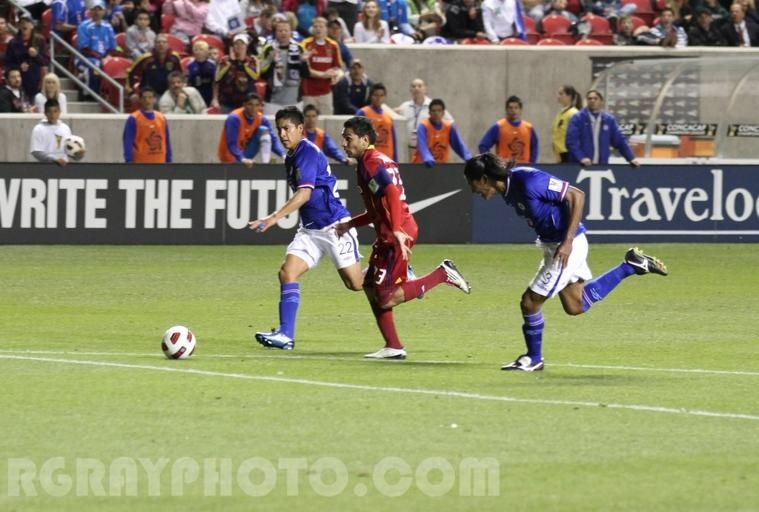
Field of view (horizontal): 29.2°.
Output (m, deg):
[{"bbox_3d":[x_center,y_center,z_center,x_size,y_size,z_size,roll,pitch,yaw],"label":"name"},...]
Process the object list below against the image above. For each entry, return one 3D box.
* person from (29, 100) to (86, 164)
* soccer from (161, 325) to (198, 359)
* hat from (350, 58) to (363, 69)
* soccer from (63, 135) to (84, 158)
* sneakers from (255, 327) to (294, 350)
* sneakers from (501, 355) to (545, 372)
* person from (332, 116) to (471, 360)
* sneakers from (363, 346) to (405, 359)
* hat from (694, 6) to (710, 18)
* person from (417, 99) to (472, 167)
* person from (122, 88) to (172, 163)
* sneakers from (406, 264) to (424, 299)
[{"bbox_3d":[-5.685,-2.165,25.221,0.642,1.086,0.325,-3,9,-12],"label":"person"},{"bbox_3d":[-2.309,0.978,16.605,0.429,0.350,0.378,5,-4,31],"label":"soccer"},{"bbox_3d":[-0.400,-3.659,27.324,0.268,0.179,0.375,2,-8,-1],"label":"hat"},{"bbox_3d":[-5.295,-1.940,25.417,0.417,0.379,0.319,24,31,37],"label":"soccer"},{"bbox_3d":[-1.201,0.972,17.195,0.493,0.221,0.191,13,-5,-20],"label":"sneakers"},{"bbox_3d":[1.646,1.195,16.319,0.427,0.145,0.191,2,-5,-7],"label":"sneakers"},{"bbox_3d":[0.157,-0.243,16.979,0.908,2.793,0.868,2,9,18],"label":"person"},{"bbox_3d":[0.068,1.117,16.925,0.501,0.172,0.167,2,-6,-2],"label":"sneakers"},{"bbox_3d":[7.159,-5.365,31.748,0.381,0.183,0.231,-4,9,-26],"label":"hat"},{"bbox_3d":[1.310,-2.249,26.424,1.205,1.242,1.235,-4,9,-26],"label":"person"},{"bbox_3d":[-4.084,-2.322,25.564,0.798,1.315,0.488,-2,9,-11],"label":"person"},{"bbox_3d":[0.453,0.321,17.921,0.190,0.261,0.552,-41,23,23],"label":"sneakers"}]
